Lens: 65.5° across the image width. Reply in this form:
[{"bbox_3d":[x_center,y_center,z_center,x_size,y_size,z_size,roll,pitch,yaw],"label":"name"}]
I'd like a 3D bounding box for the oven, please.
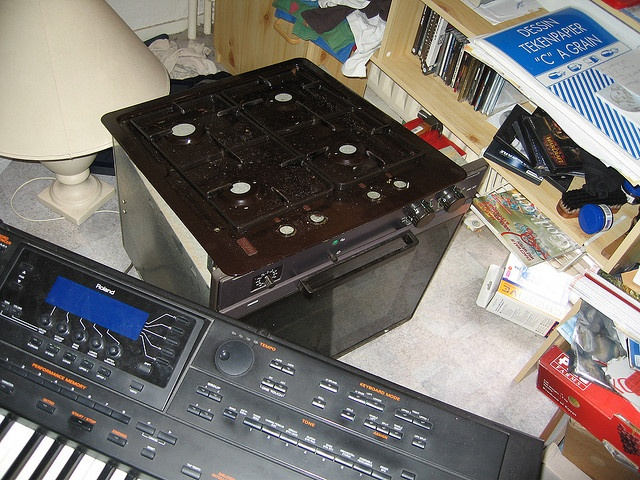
[{"bbox_3d":[-0.107,-0.113,1.718,1.185,0.852,0.852,-25,59,-21],"label":"oven"}]

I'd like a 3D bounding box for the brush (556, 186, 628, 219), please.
[{"bbox_3d":[0.832,-0.121,1.528,0.201,0.119,0.054,0,77,28],"label":"brush"}]

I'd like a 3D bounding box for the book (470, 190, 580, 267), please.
[{"bbox_3d":[0.714,-0.041,1.713,0.298,0.110,0.383,-6,52,-14],"label":"book"}]
